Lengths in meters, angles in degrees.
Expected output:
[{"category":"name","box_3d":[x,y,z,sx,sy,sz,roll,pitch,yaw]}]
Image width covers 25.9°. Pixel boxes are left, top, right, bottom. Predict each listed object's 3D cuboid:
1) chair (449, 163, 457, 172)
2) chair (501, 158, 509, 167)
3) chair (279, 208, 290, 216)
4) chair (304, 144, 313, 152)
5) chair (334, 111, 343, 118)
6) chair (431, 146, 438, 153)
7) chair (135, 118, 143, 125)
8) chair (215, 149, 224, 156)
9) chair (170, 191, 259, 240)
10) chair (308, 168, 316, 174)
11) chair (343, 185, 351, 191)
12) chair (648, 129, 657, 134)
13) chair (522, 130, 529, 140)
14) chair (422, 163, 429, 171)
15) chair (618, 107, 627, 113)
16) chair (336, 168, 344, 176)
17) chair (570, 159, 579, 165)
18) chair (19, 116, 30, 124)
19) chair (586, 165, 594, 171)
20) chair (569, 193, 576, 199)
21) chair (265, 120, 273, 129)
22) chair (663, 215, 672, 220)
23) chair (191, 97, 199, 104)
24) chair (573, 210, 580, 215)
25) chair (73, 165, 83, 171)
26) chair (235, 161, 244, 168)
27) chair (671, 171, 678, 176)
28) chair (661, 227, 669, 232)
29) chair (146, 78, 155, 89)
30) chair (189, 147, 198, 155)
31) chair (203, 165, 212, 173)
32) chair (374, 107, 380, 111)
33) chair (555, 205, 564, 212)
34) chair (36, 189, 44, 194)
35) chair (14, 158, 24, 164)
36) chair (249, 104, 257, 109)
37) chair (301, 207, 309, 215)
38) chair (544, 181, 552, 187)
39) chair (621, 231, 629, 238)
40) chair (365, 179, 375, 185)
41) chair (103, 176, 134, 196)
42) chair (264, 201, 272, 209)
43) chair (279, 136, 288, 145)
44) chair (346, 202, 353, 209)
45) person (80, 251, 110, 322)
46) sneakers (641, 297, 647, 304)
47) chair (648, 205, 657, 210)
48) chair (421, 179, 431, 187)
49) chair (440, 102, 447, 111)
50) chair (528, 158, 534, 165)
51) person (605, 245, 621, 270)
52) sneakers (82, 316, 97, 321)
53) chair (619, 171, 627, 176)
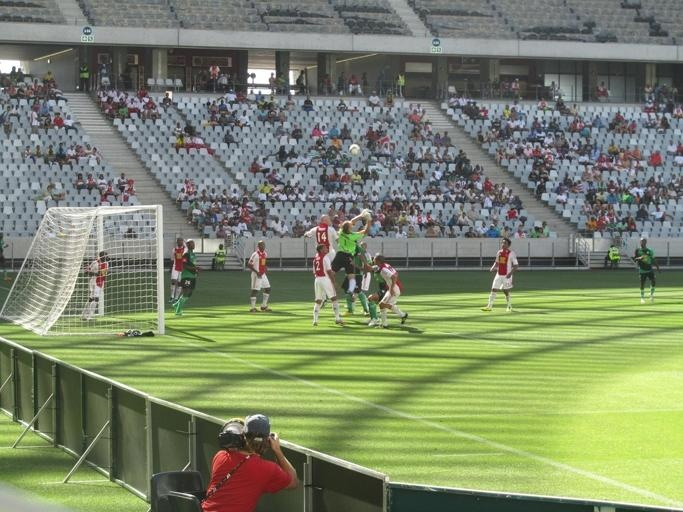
[{"category":"chair","box_3d":[5.115,-4.113,69.149,0.313,0.464,0.372,1,-1,6]},{"category":"chair","box_3d":[7.639,-4.376,69.805,0.284,0.464,0.339,0,0,-2]},{"category":"chair","box_3d":[-2.476,-1.934,64.806,0.501,0.261,0.425,0,12,-9]},{"category":"chair","box_3d":[-1.567,-4.959,68.625,0.313,0.165,0.442,1,9,8]},{"category":"chair","box_3d":[-0.159,-6.786,71.482,0.295,0.455,0.335,2,-12,-7]},{"category":"chair","box_3d":[4.358,-5.005,69.969,0.263,0.450,0.302,1,2,-8]},{"category":"chair","box_3d":[-9.281,-6.105,67.986,0.288,0.220,0.289,1,-8,-16]},{"category":"chair","box_3d":[-5.505,-4.716,67.510,0.280,0.280,0.292,-9,17,-1]},{"category":"chair","box_3d":[-5.158,-1.853,63.398,3.368,1.692,1.968,0,12,-7]},{"category":"chair","box_3d":[-1.384,-3.844,67.314,0.365,0.287,0.319,1,12,-3]},{"category":"chair","box_3d":[0.233,-3.055,66.715,0.356,0.368,0.204,1,-23,-3]},{"category":"chair","box_3d":[15.434,-6.234,74.151,0.388,0.297,0.223,2,7,2]},{"category":"chair","box_3d":[8.922,-5.871,72.448,0.441,0.461,0.256,2,-19,1]},{"category":"chair","box_3d":[3.844,-4.101,68.892,0.286,0.373,0.286,-1,4,4]},{"category":"chair","box_3d":[14.215,-7.439,75.711,0.348,0.508,0.358,2,4,15]},{"category":"chair","box_3d":[-0.064,-3.837,67.646,0.290,0.488,0.343,1,-2,-10]},{"category":"chair","box_3d":[11.064,-4.461,70.994,0.340,0.239,0.262,2,-2,9]},{"category":"chair","box_3d":[-14.113,-6.015,66.091,0.299,0.393,0.311,-2,3,-39]},{"category":"chair","box_3d":[11.690,-4.171,70.643,0.240,0.301,0.536,12,-1,10]},{"category":"chair","box_3d":[10.606,-2.764,68.448,0.275,0.182,0.285,-2,4,-3]},{"category":"chair","box_3d":[-3.451,-6.160,69.665,0.303,0.423,0.337,0,-1,-12]},{"category":"chair","box_3d":[14.799,-1.765,67.875,0.306,0.347,0.274,-5,-11,42]},{"category":"chair","box_3d":[-6.973,-7.356,70.439,0.292,0.406,0.334,-2,9,-24]},{"category":"chair","box_3d":[10.593,-1.978,67.263,0.208,0.156,0.211,4,14,18]},{"category":"chair","box_3d":[-11.427,-3.796,64.215,0.264,0.138,0.294,2,-8,-5]},{"category":"chair","box_3d":[-4.589,-4.093,66.972,0.422,0.254,0.542,1,12,-3]},{"category":"chair","box_3d":[15.870,-3.909,71.233,0.322,0.170,0.457,6,13,17]},{"category":"chair","box_3d":[14.580,-1.178,67.047,0.380,0.199,0.248,5,12,13]},{"category":"chair","box_3d":[-9.118,-8.229,71.087,0.355,0.495,0.415,0,-1,-11]},{"category":"chair","box_3d":[-6.706,-4.708,66.974,0.318,0.306,0.267,-1,4,5]},{"category":"chair","box_3d":[-6.076,-3.849,66.168,0.603,0.230,0.345,6,12,18]},{"category":"chair","box_3d":[1.717,-7.145,72.504,0.310,0.332,0.176,2,-18,-3]},{"category":"chair","box_3d":[9.818,-2.165,67.386,0.326,0.237,0.252,0,4,3]},{"category":"chair","box_3d":[-12.680,-2.703,62.656,0.237,0.130,0.303,0,12,-8]},{"category":"chair","box_3d":[-13.883,-4.102,63.895,0.401,0.213,0.330,-2,12,-18]},{"category":"chair","box_3d":[-4.197,-7.062,70.621,0.284,0.440,0.305,0,8,-12]},{"category":"chair","box_3d":[-1.598,-1.962,65.072,0.367,0.238,0.375,0,12,-7]},{"category":"chair","box_3d":[9.523,-3.301,68.796,0.250,0.200,0.260,-3,-2,44]},{"category":"chair","box_3d":[12.593,-0.946,66.278,0.274,0.198,0.288,5,16,23]},{"category":"chair","box_3d":[1.299,-3.323,67.345,0.376,0.271,0.197,1,-7,-13]},{"category":"chair","box_3d":[-9.525,-2.945,63.317,1.516,0.505,0.520,7,8,-37]},{"category":"chair","box_3d":[-3.197,-2.259,65.000,0.421,0.230,0.235,-1,12,-16]},{"category":"chair","box_3d":[-2.689,-5.321,68.760,0.380,0.442,0.399,-2,-1,17]},{"category":"chair","box_3d":[0.308,-2.245,66.054,0.243,0.331,0.267,1,-6,-3]},{"category":"person","box_3d":[-7.857,0.849,47.371,0.796,2.248,0.828,1,11,-2]},{"category":"sneakers","box_3d":[10.533,1.547,52.043,0.119,0.245,0.351,0,-5,5]},{"category":"chair","box_3d":[14.218,-2.212,68.136,0.250,0.256,0.259,1,-4,-3]},{"category":"chair","box_3d":[3.817,-3.347,68.018,0.298,0.466,0.329,1,-1,-4]},{"category":"chair","box_3d":[5.063,-7.398,73.721,0.339,0.575,0.384,1,6,3]},{"category":"chair","box_3d":[8.904,-4.487,70.278,0.216,0.349,0.244,0,-1,3]},{"category":"person","box_3d":[11.863,0.023,65.181,0.648,0.948,1.198,4,12,9]},{"category":"sneakers","box_3d":[-8.064,1.950,47.340,0.432,0.127,0.259,-2,13,-19]},{"category":"chair","box_3d":[13.341,-3.937,70.720,0.398,0.307,0.229,-2,-11,14]}]
